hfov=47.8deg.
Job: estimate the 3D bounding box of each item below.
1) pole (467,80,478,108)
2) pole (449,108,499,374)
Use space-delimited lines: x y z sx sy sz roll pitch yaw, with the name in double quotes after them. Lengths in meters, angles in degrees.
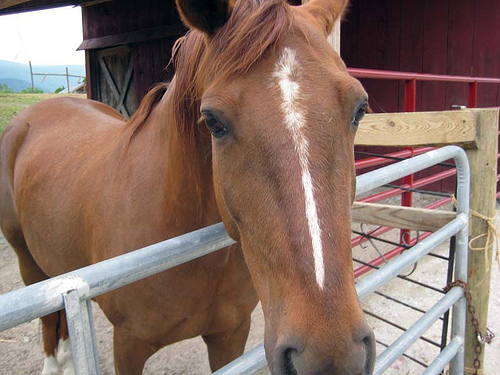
2.491 -1.071 6.305 0.086 0.340 0.503 3 16 19 "pole"
1.567 0.397 3.931 0.234 1.887 0.404 5 14 28 "pole"
